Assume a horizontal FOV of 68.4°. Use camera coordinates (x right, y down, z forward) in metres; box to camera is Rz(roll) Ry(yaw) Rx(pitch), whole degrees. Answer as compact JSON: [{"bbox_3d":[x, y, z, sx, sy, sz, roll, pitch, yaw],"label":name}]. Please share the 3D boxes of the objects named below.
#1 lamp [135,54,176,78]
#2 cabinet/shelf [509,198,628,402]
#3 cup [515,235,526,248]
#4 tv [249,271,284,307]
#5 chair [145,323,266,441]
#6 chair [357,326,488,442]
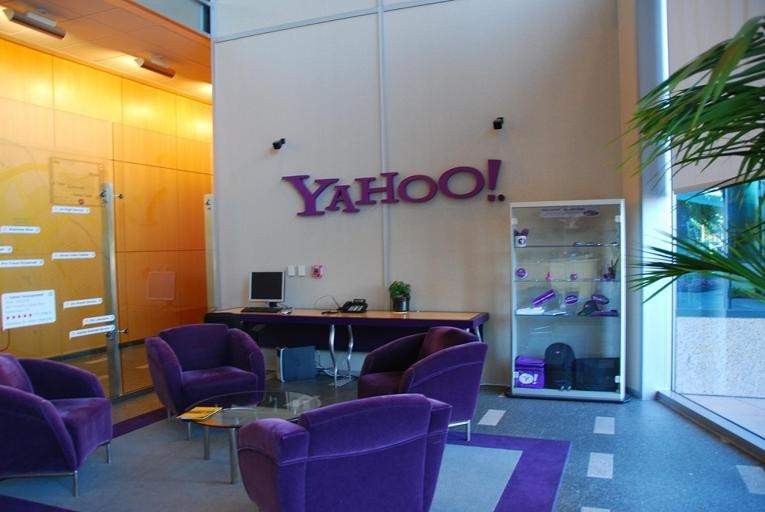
[{"bbox_3d":[-3.622,-3.013,9.001,0.230,0.215,0.647,3,12,23],"label":"lamp"},{"bbox_3d":[2.287,0.541,7.034,1.374,2.426,0.684,0,12,11],"label":"cabinet/shelf"},{"bbox_3d":[1.778,-0.177,7.336,0.131,0.200,0.132,1,3,0],"label":"cup"},{"bbox_3d":[-1.703,0.478,8.322,0.528,0.493,0.184,-2,-11,16],"label":"tv"},{"bbox_3d":[-2.123,1.322,6.723,1.172,0.905,1.148,-2,1,-35],"label":"chair"},{"bbox_3d":[0.392,1.347,6.148,1.188,1.014,1.169,1,0,-20],"label":"chair"}]
